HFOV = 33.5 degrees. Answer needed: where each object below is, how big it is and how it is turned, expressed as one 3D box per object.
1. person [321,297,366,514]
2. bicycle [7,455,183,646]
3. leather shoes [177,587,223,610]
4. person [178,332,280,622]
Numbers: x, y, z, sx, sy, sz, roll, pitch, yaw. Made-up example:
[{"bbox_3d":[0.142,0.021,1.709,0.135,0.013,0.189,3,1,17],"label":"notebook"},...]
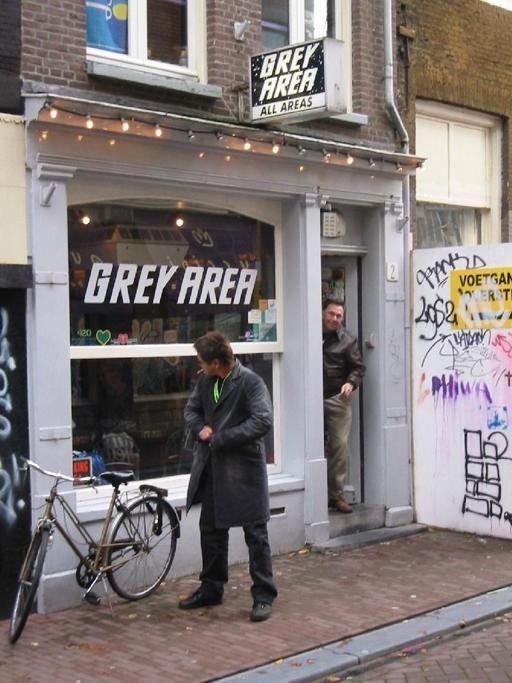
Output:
[{"bbox_3d":[0.787,0.588,7.739,0.374,1.924,0.468,0,-1,-12],"label":"person"},{"bbox_3d":[-1.145,1.276,5.655,0.589,1.067,1.347,4,-1,39],"label":"bicycle"},{"bbox_3d":[-0.351,1.664,5.616,0.326,0.173,0.120,6,-6,-21],"label":"leather shoes"},{"bbox_3d":[-0.188,0.839,5.474,0.659,1.786,0.511,-1,-1,22],"label":"person"}]
